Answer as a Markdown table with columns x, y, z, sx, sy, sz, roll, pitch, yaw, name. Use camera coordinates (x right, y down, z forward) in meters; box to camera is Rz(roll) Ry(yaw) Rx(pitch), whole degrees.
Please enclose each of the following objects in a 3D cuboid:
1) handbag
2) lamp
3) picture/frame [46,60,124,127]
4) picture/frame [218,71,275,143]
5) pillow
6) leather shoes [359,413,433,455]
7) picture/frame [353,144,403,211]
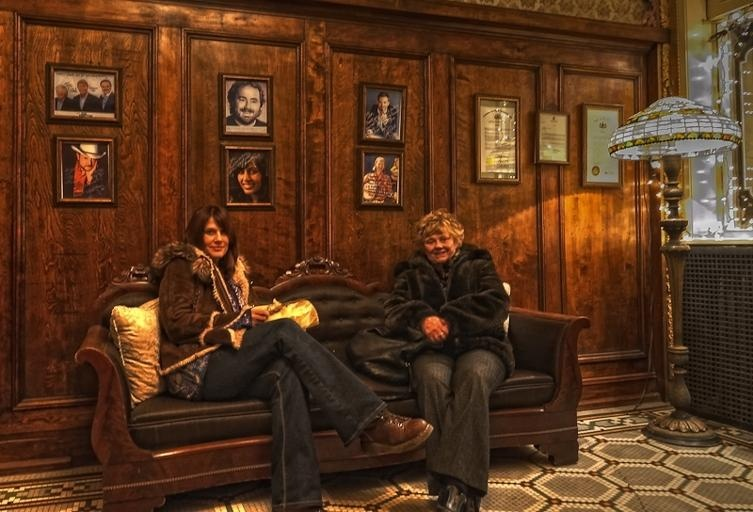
| x | y | z | sx | sy | sz | roll | pitch | yaw | name |
| --- | --- | --- | --- | --- | --- | --- | --- | --- | --- |
| 0.095 | 0.660 | 4.011 | 0.373 | 0.167 | 0.374 | -1 | 7 | -18 | handbag |
| 2.191 | 0.070 | 4.501 | 0.845 | 2.497 | 0.962 | 0 | 11 | 3 | lamp |
| -2.057 | -1.148 | 4.185 | 0.466 | 0.416 | 0.050 | 0 | -1 | -11 | picture/frame |
| -0.973 | -1.112 | 4.413 | 0.526 | 0.637 | 0.086 | 0 | -2 | -13 | picture/frame |
| -1.446 | 0.570 | 3.653 | 0.184 | 0.526 | 0.518 | -14 | -4 | 11 | pillow |
| 0.110 | 1.081 | 3.628 | 0.442 | 0.305 | 0.206 | -25 | -34 | 37 | leather shoes |
| 0.004 | -0.618 | 4.650 | 0.493 | 0.595 | 0.044 | 2 | 0 | -17 | picture/frame |
